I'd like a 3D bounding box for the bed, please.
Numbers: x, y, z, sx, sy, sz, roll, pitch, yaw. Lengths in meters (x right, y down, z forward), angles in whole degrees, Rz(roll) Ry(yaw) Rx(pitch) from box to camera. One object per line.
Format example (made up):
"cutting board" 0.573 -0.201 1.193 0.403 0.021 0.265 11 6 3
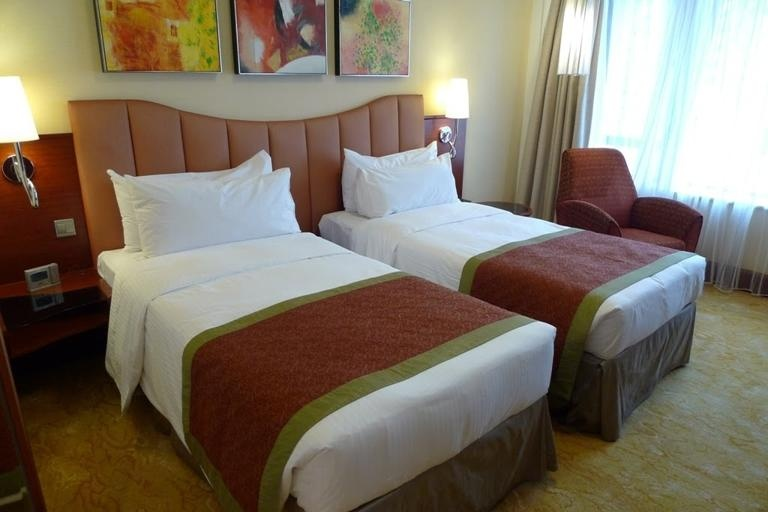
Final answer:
"bed" 0.484 0.225 3.783 2.875 0.730 2.175 -14 22 -39
